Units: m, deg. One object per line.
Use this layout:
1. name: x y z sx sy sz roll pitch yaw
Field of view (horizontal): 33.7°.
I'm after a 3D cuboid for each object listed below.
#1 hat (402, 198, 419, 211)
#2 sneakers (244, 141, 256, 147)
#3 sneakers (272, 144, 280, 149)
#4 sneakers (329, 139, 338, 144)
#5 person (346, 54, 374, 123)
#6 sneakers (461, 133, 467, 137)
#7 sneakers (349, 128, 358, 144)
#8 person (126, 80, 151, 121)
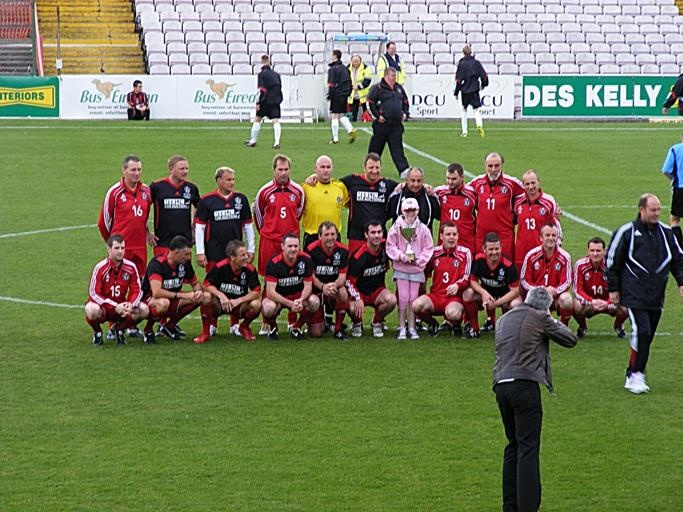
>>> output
1. hat: 0.893 -0.684 14.719 0.169 0.117 0.224 0 0 3
2. sneakers: -2.165 -2.681 26.743 0.287 0.146 0.114 20 -1 35
3. sneakers: -1.529 -2.592 26.388 0.133 0.157 0.368 -2 10 -8
4. sneakers: -0.165 -2.788 27.113 0.097 0.113 0.260 -1 9 -21
5. person: 0.447 -4.469 30.239 0.691 2.051 0.634 2 40 6
6. sneakers: 3.162 -3.143 29.002 0.107 0.123 0.276 2 10 9
7. sneakers: 0.286 -2.887 27.070 0.158 0.204 0.436 -10 -5 -6
8. person: -5.749 -4.416 31.980 0.651 1.126 0.767 2 12 -1
